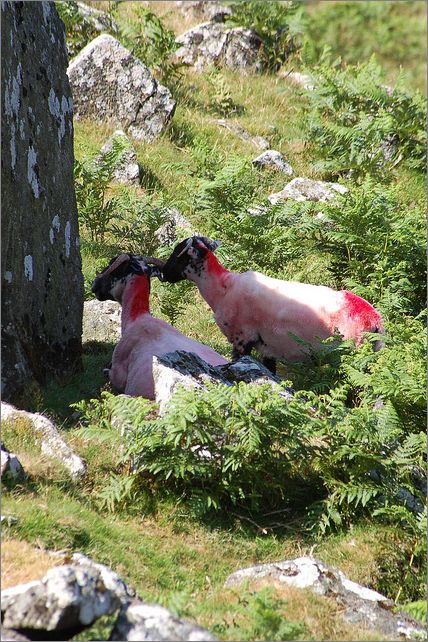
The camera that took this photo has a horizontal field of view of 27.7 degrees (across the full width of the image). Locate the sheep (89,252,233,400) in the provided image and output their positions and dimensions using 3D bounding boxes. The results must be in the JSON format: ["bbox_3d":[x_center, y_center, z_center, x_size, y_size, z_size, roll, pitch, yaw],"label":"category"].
[{"bbox_3d":[-0.657,0.019,7.614,0.740,0.916,1.887,-6,29,-34],"label":"sheep"}]
